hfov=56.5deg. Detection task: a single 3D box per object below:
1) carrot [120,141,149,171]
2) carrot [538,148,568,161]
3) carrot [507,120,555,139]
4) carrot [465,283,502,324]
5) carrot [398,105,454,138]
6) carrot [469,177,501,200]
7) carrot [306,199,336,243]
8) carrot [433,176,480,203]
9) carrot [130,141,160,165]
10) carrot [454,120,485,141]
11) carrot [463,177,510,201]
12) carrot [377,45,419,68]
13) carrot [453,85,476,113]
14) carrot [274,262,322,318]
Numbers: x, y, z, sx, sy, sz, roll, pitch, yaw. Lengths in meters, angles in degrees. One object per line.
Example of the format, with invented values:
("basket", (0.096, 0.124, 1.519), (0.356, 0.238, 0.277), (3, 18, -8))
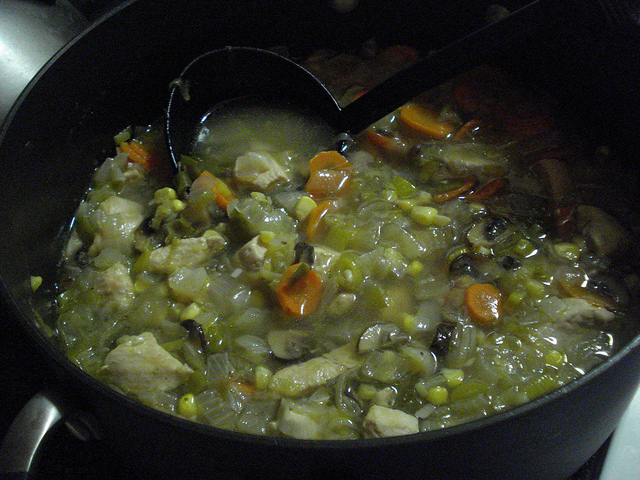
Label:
("carrot", (-0.728, -0.327, 2.321), (0.161, 0.067, 0.055), (28, 34, 30))
("carrot", (0.844, -0.310, 2.144), (0.080, 0.019, 0.046), (4, 65, 19))
("carrot", (0.781, -0.418, 2.215), (0.148, 0.074, 0.066), (16, 30, 10))
("carrot", (0.502, 0.195, 1.823), (0.113, 0.071, 0.120), (10, 29, -2))
("carrot", (0.424, -0.452, 2.370), (0.180, 0.057, 0.157), (-5, 36, -35))
("carrot", (0.589, -0.175, 2.095), (0.043, 0.143, 0.035), (55, 1, -8))
("carrot", (-0.011, -0.068, 2.035), (0.036, 0.089, 0.136), (26, 70, -3))
("carrot", (0.488, -0.179, 2.117), (0.150, 0.026, 0.082), (-16, 33, 0))
("carrot", (-0.689, -0.343, 2.335), (0.129, 0.028, 0.066), (24, 4, -8))
("carrot", (0.588, -0.422, 2.336), (0.121, 0.029, 0.066), (-42, 64, -4))
("carrot", (0.591, -0.182, 2.105), (0.157, 0.078, 0.067), (-12, 38, -36))
("carrot", (0.345, -0.808, 2.604), (0.154, 0.034, 0.098), (0, 72, 2))
("carrot", (0.581, -0.562, 2.371), (0.035, 0.090, 0.104), (-24, 88, -50))
("carrot", (-0.073, 0.146, 1.824), (0.174, 0.159, 0.069), (-28, 39, -21))
